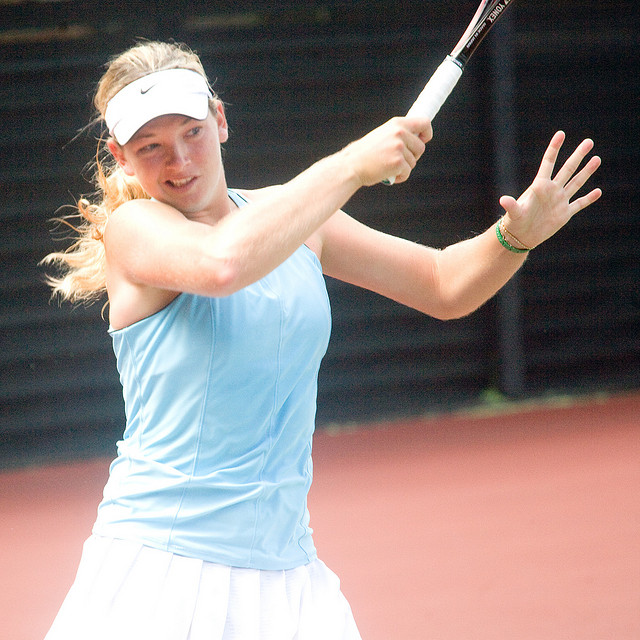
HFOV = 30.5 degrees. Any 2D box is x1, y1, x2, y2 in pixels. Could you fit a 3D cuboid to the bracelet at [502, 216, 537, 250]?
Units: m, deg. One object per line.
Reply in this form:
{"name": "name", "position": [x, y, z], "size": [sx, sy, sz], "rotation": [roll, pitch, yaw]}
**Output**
{"name": "bracelet", "position": [0.607, -0.271, 3.623], "size": [0.023, 0.091, 0.090], "rotation": [-44, 48, -10]}

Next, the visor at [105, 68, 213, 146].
{"name": "visor", "position": [-0.477, -0.636, 3.405], "size": [0.327, 0.148, 0.403], "rotation": [-16, 12, 6]}
